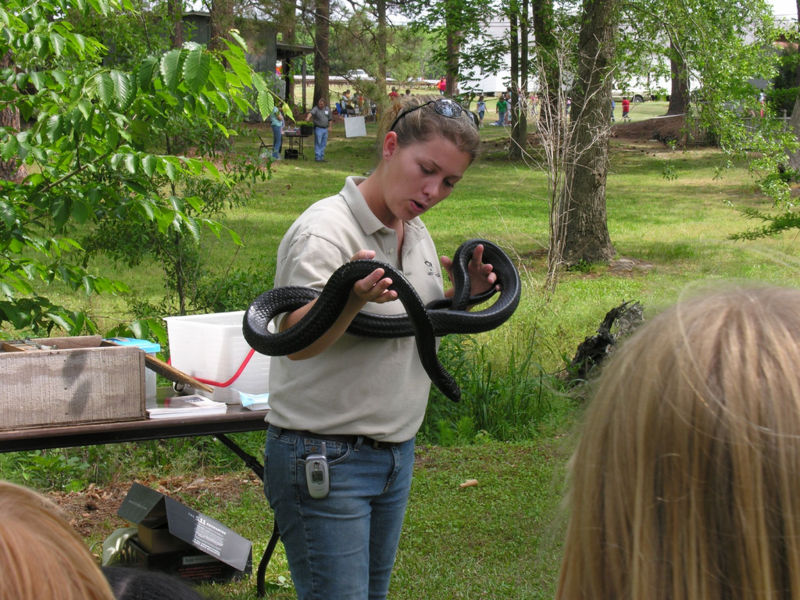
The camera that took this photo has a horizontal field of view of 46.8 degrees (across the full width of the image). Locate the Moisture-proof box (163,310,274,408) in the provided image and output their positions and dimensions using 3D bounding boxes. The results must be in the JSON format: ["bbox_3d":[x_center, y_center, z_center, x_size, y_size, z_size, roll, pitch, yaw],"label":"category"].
[{"bbox_3d":[-0.953,0.324,4.813,0.582,0.381,0.456,3,-6,-34],"label":"Moisture-proof box"}]

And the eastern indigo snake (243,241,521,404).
[{"bbox_3d":[0.034,0.056,3.480,0.671,0.322,0.903,8,11,16],"label":"eastern indigo snake"}]

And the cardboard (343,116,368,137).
[{"bbox_3d":[-1.787,-6.946,36.786,0.180,0.909,1.302,-12,8,36],"label":"cardboard"}]

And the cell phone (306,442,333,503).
[{"bbox_3d":[-0.286,0.597,3.224,0.080,0.185,0.066,-2,10,-15],"label":"cell phone"}]

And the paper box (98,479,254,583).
[{"bbox_3d":[-1.210,1.378,5.313,0.696,0.319,0.706,10,-5,37],"label":"paper box"}]
